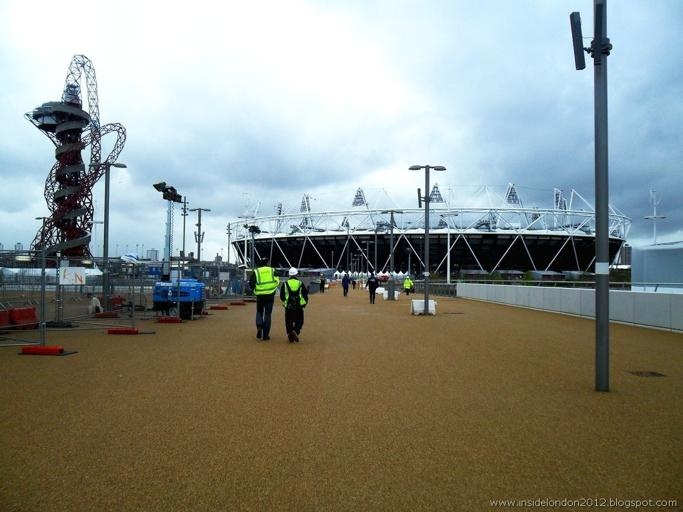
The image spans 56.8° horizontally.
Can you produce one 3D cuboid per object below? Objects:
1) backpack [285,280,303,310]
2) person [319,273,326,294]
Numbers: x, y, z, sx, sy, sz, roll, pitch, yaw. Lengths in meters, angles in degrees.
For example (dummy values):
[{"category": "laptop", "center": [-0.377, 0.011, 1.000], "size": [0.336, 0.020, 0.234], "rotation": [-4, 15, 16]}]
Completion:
[{"category": "backpack", "center": [-1.080, 0.856, 14.754], "size": [0.453, 0.702, 0.238], "rotation": [0, -1, -6]}, {"category": "person", "center": [-1.931, 2.742, 63.762], "size": [1.408, 1.890, 0.580], "rotation": [1, -16, -4]}]
